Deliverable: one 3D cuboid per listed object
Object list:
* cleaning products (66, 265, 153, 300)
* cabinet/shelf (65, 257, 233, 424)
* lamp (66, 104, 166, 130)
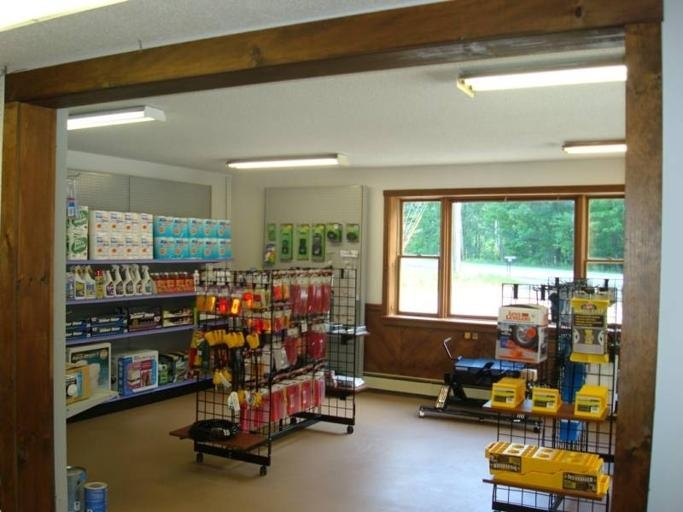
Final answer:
[{"bbox_3d":[-2.906,0.352,6.752,0.325,0.481,1.267,-2,-3,29],"label":"cleaning products"},{"bbox_3d":[-2.467,0.999,7.333,0.405,1.690,2.678,1,-1,31],"label":"cabinet/shelf"},{"bbox_3d":[-2.143,-1.297,5.165,1.035,0.111,0.316,1,2,21],"label":"lamp"}]
